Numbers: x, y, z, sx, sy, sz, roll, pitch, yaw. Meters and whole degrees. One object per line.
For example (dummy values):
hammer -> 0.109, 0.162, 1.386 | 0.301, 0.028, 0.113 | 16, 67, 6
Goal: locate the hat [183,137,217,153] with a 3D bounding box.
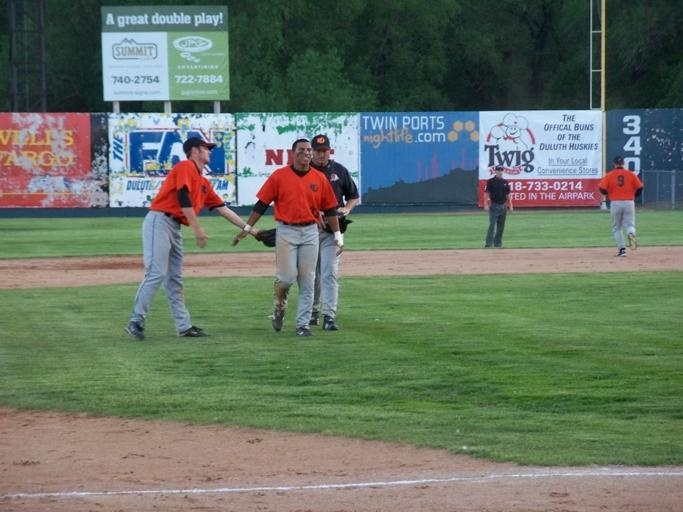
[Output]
hat -> -4.297, -3.436, 53.871 | 0.865, 0.363, 0.513 | -8, 7, -9

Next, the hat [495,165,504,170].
hat -> 5.797, -3.273, 65.140 | 0.328, 0.140, 0.393 | -1, 1, -9

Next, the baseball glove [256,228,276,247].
baseball glove -> -2.235, -0.608, 54.239 | 0.632, 0.517, 0.478 | -21, 7, -2

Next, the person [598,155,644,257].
person -> 9.680, -1.748, 61.378 | 1.320, 3.398, 0.887 | 1, 4, 7

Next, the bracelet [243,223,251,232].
bracelet -> -2.837, -0.890, 53.861 | 0.234, 0.201, 0.085 | 5, -28, -25
